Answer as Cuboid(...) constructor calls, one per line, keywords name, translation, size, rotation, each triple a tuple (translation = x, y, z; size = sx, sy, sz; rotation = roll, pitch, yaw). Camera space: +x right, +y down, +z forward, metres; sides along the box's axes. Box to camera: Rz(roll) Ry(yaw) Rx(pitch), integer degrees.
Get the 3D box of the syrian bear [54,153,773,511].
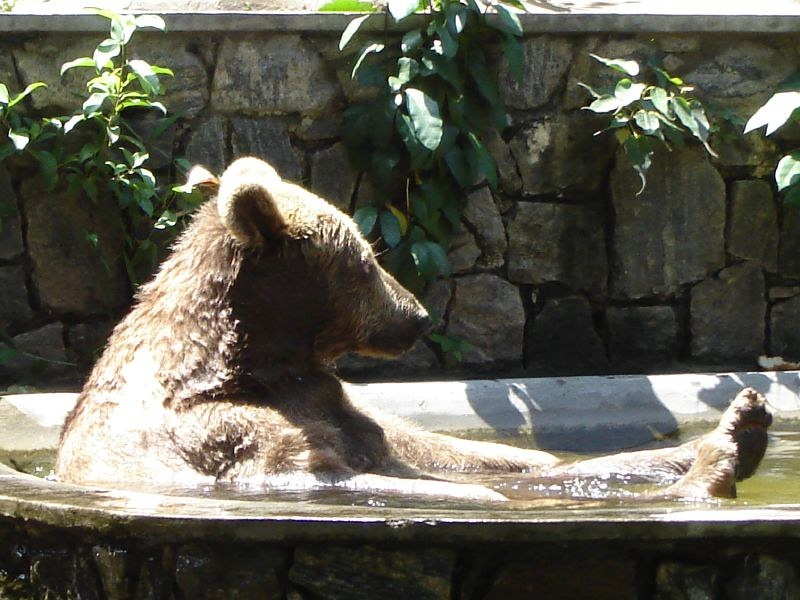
Cuboid(name="syrian bear", translation=(-0.188, 0.159, 5.247), size=(2.389, 1.411, 0.904), rotation=(-4, 12, 1))
